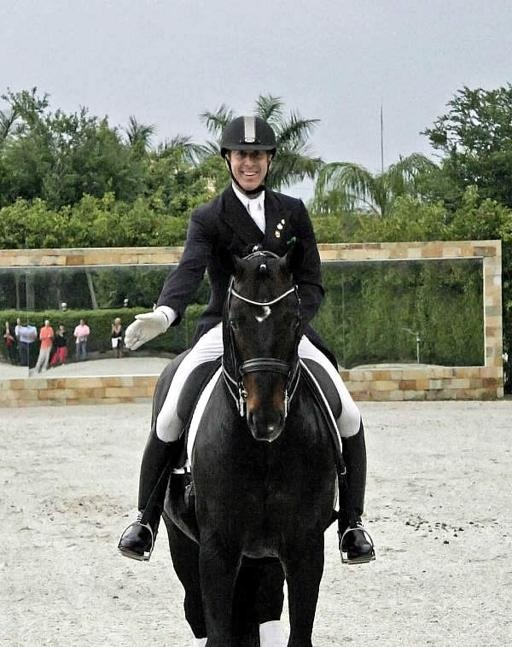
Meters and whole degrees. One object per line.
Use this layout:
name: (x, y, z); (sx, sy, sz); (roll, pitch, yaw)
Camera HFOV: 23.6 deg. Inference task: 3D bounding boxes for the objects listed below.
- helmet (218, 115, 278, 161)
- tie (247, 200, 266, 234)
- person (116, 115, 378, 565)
helmet: (-0.045, -1.152, 7.709); (0.360, 0.301, 0.536); (-1, -6, 1)
tie: (0.013, -0.665, 7.654); (0.104, 0.213, 0.058); (-4, -16, -18)
person: (-0.174, 0.082, 7.634); (1.350, 2.829, 1.043); (2, 3, -10)
